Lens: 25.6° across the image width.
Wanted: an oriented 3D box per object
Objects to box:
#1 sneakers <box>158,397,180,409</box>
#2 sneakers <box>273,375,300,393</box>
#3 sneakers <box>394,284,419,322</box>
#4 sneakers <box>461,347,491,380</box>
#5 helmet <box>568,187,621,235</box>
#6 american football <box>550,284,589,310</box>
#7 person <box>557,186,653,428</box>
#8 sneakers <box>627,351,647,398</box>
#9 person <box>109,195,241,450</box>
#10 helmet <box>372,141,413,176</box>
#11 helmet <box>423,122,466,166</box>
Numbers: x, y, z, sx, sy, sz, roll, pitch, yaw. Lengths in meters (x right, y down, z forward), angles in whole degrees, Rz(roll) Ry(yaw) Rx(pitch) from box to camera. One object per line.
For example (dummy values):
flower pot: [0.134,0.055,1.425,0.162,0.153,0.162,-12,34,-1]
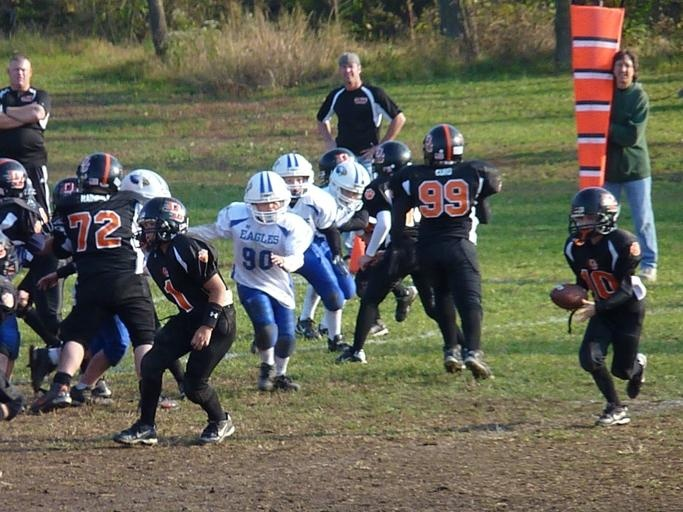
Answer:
sneakers: [-2.195,1.876,19.339,0.313,0.093,0.127,6,-30,-4]
sneakers: [-0.700,1.636,19.570,0.419,0.159,0.137,0,7,25]
sneakers: [0.899,0.626,21.480,0.281,0.580,0.210,8,9,-40]
sneakers: [1.733,1.380,18.738,0.193,0.530,0.253,-40,34,12]
helmet: [3.076,-0.564,18.882,0.703,0.511,0.491,-1,-3,-23]
american football: [2.848,0.496,18.763,0.337,0.211,0.387,7,3,18]
person: [3.312,0.591,18.724,0.956,2.846,0.906,-1,10,4]
sneakers: [3.720,1.497,19.002,0.291,0.579,0.207,-2,16,-26]
person: [-1.934,0.773,18.391,1.305,2.973,0.532,-3,10,-4]
helmet: [0.765,-1.389,20.937,0.421,0.424,0.544,-21,24,-20]
helmet: [1.368,-1.487,19.483,0.474,0.481,0.557,0,26,-4]
